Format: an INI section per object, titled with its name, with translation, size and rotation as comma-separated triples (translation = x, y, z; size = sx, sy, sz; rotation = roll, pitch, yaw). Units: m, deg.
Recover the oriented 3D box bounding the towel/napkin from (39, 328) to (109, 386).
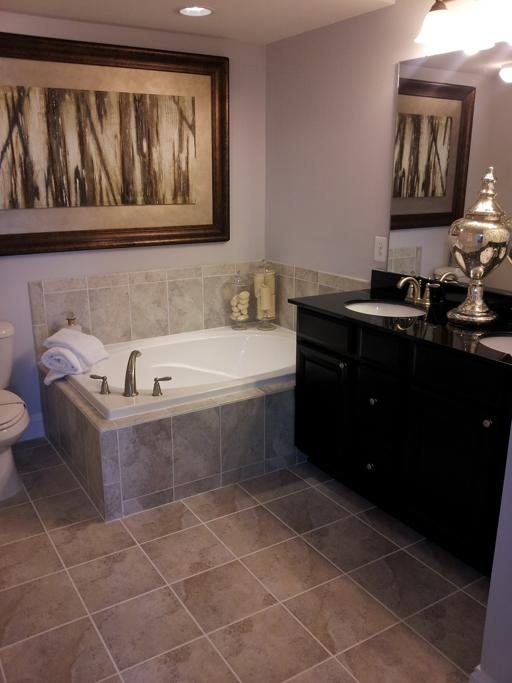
[towel/napkin]
translation = -0.878, 0.056, 2.569
size = 0.264, 0.116, 0.279
rotation = 3, 27, 1
